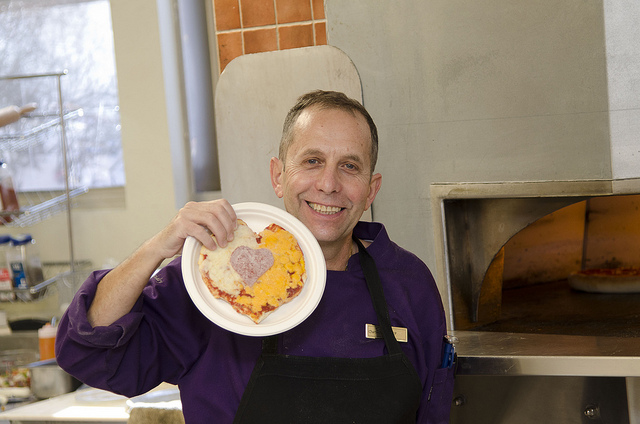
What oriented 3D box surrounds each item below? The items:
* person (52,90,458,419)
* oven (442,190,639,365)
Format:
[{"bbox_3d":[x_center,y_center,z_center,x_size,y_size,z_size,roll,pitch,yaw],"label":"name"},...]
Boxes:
[{"bbox_3d":[-0.170,0.185,2.579,1.437,1.292,0.617,2,9,4],"label":"person"},{"bbox_3d":[1.148,0.376,3.582,0.870,1.059,0.580,2,3,16],"label":"oven"}]
